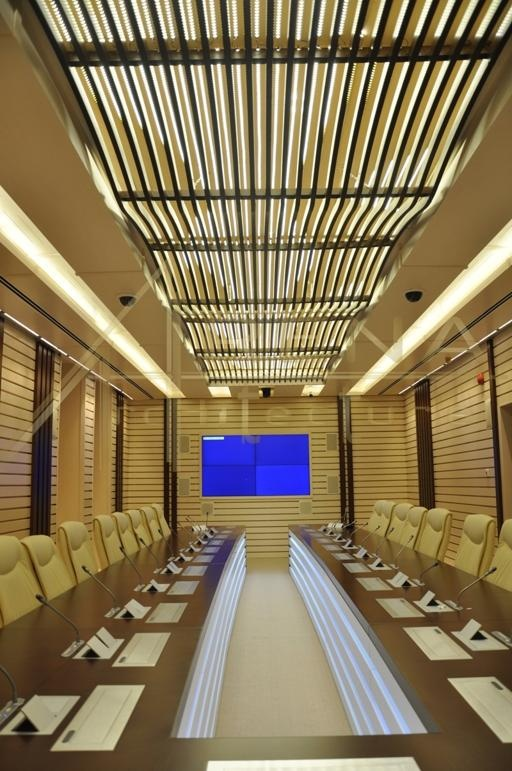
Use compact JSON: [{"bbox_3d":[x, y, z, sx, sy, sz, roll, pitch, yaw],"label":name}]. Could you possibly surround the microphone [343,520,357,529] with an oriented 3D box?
[{"bbox_3d":[1.369,1.985,6.745,0.267,0.082,0.271,-1,-2,5],"label":"microphone"}]
